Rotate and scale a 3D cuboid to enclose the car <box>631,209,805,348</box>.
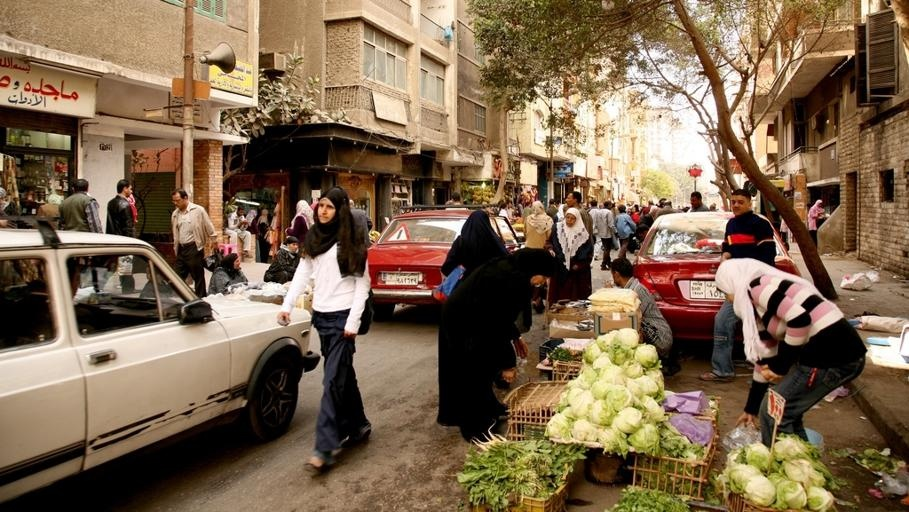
[{"bbox_3d":[5.176,0.041,12.128,2.782,2.088,6.679,0,9,19],"label":"car"}]

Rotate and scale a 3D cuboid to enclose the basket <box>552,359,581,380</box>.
[{"bbox_3d":[1.486,1.509,7.751,0.377,0.274,0.249,-1,-8,6],"label":"basket"}]

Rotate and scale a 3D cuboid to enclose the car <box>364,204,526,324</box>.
[{"bbox_3d":[0.065,-0.002,13.568,2.679,2.109,5.645,1,6,23],"label":"car"}]

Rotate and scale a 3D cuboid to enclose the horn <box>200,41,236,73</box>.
[{"bbox_3d":[-5.345,-4.519,13.415,0.608,0.629,0.595,-1,13,4],"label":"horn"}]
